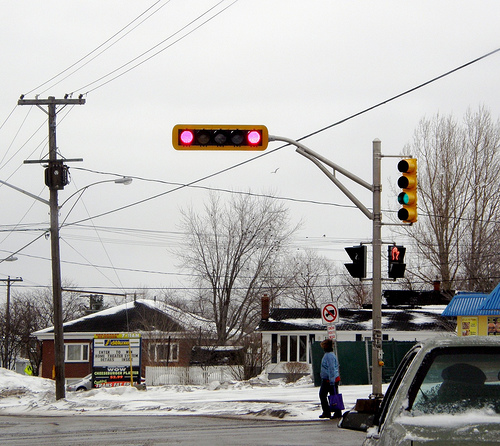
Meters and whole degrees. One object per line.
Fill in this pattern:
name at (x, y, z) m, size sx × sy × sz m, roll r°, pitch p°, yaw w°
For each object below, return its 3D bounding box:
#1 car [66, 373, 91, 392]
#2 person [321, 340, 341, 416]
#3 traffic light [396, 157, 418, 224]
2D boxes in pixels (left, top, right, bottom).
car at (-8.852, 8.360, 55.134) m, size 1.796 × 1.041 × 1.159 m, roll 4°, pitch -8°, yaw -5°
person at (2.369, 4.603, 31.684) m, size 0.543 × 2.238 × 0.814 m, roll -3°, pitch -8°, yaw 4°
traffic light at (4.533, -0.931, 30.558) m, size 0.613 × 1.860 × 0.587 m, roll -4°, pitch -8°, yaw 9°
